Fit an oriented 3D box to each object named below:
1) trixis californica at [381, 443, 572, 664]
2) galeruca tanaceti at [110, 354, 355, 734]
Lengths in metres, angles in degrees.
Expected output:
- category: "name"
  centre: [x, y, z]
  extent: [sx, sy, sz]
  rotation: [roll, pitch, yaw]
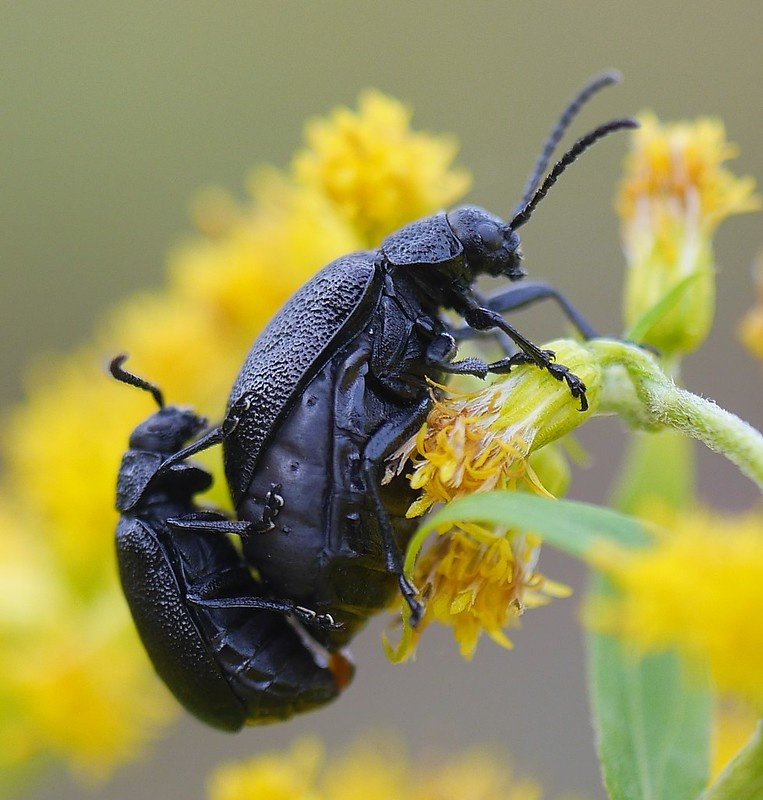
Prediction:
- category: "trixis californica"
  centre: [0.138, 0.281, 1.623]
  extent: [0.330, 0.249, 0.190]
  rotation: [-17, 12, -9]
- category: "galeruca tanaceti"
  centre: [-0.292, 0.224, 1.751]
  extent: [0.215, 0.590, 0.471]
  rotation: [-14, -16, -31]
